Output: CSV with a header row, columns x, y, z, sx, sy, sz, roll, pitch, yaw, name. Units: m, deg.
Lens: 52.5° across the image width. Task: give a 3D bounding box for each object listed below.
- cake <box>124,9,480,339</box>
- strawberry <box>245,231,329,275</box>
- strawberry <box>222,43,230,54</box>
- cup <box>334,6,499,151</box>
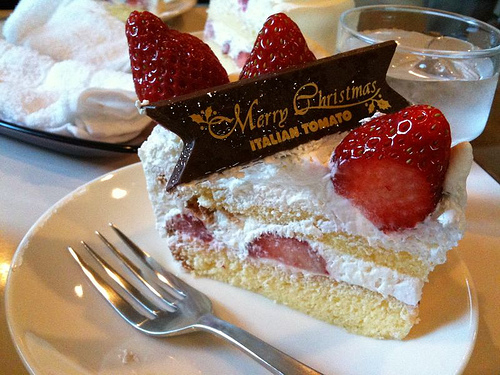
x,y,z,sx,sy,sz,roll,pitch,yaw,name
0.167,-0.041,1.376,0.892,0.677,0.680,24,49,22,cake
0.097,0.163,1.240,0.155,0.056,0.104,1,33,-13,strawberry
-0.102,-0.595,2.185,0.027,0.036,0.009,15,41,9,strawberry
0.490,-0.273,1.604,0.453,0.357,0.493,2,39,-1,cup
